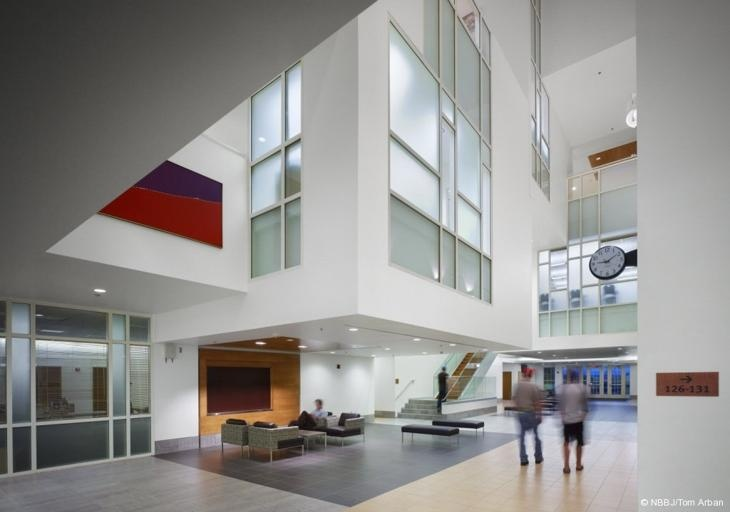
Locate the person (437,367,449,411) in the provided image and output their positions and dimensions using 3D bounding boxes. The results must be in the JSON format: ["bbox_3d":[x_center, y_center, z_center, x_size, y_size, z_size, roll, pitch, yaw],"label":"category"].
[{"bbox_3d":[3.281,5.740,21.418,0.492,1.637,0.593,-1,-9,7],"label":"person"}]

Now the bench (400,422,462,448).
[{"bbox_3d":[1.987,5.212,15.137,1.789,0.561,2.966,-1,-11,4],"label":"bench"}]
